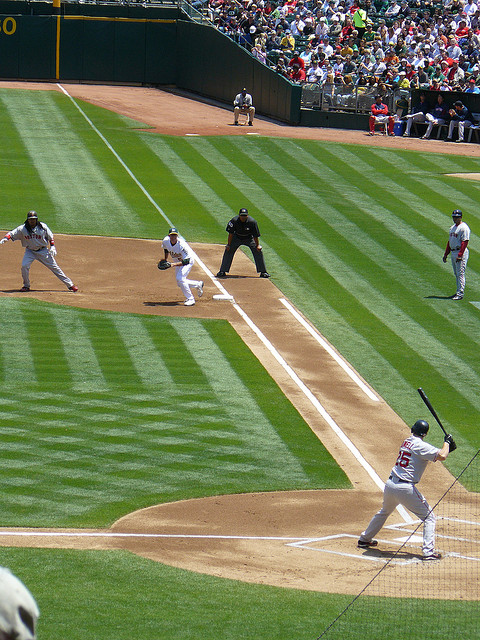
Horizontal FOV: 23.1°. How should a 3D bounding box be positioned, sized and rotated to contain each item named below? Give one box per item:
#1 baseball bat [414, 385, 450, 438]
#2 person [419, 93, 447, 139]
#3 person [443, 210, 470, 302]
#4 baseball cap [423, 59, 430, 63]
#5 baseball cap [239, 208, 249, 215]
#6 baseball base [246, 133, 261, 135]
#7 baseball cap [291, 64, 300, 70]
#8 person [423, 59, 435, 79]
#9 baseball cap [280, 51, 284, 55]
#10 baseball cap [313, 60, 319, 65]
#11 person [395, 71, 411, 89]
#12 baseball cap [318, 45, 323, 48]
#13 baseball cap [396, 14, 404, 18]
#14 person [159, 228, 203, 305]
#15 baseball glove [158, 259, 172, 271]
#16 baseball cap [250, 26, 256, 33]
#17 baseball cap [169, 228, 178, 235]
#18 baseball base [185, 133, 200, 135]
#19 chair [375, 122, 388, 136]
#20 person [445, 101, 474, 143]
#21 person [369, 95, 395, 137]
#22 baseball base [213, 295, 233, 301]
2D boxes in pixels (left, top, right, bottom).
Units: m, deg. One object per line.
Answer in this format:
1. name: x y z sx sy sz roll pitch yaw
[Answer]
1. baseball bat: 2.808 1.364 17.095 0.187 1.373 0.105 -31 40 13
2. person: 6.557 -6.703 39.254 0.702 1.363 1.799 8 9 4
3. person: 4.417 -1.251 23.840 0.493 1.923 1.535 10 10 10
4. baseball cap: 6.407 -8.808 40.012 0.165 0.099 0.157 8 9 8
5. baseball cap: 0.110 -2.190 23.600 0.186 0.128 0.243 4 -6 0
6. baseball base: 0.517 -6.190 39.175 0.451 0.079 0.214 2 9 -24
7. baseball cap: 2.008 -8.896 41.440 0.236 0.096 0.294 3 10 -6
8. person: 6.388 -8.464 39.716 0.326 0.656 0.747 6 9 -7
9. baseball cap: 1.609 -9.849 43.397 0.165 0.048 0.150 2 -3 -5
10. baseball cap: 2.786 -9.253 42.265 0.212 0.160 0.293 7 8 2
11. person: 5.573 -8.076 39.826 0.533 0.612 1.557 8 8 6
12. baseball cap: 3.040 -10.129 43.591 0.103 0.107 0.256 3 9 -22
13. baseball cap: 6.192 -11.623 45.026 0.306 0.139 0.446 -1 14 11
14. person: -1.084 -0.996 22.387 0.620 1.486 1.423 10 9 13
15. baseball glove: -1.364 -1.011 21.604 0.276 0.170 0.220 -6 -34 3
16. baseball cap: 0.551 -10.976 44.480 0.208 0.284 0.437 6 8 -5
17. baseball cap: -1.188 -1.632 21.749 0.201 0.128 0.283 1 6 -6
18. baseball base: -1.558 -6.104 38.714 0.388 0.058 0.235 5 8 -9
19. chair: 5.019 -6.671 40.989 0.540 0.501 0.378 -1 14 -2
20. person: 7.329 -6.517 38.913 0.837 1.289 1.596 9 9 8
21. person: 4.873 -7.095 40.791 0.988 1.389 1.012 -7 9 -29
22. baseball base: -0.307 -0.441 23.527 0.385 0.081 0.368 5 8 -4
